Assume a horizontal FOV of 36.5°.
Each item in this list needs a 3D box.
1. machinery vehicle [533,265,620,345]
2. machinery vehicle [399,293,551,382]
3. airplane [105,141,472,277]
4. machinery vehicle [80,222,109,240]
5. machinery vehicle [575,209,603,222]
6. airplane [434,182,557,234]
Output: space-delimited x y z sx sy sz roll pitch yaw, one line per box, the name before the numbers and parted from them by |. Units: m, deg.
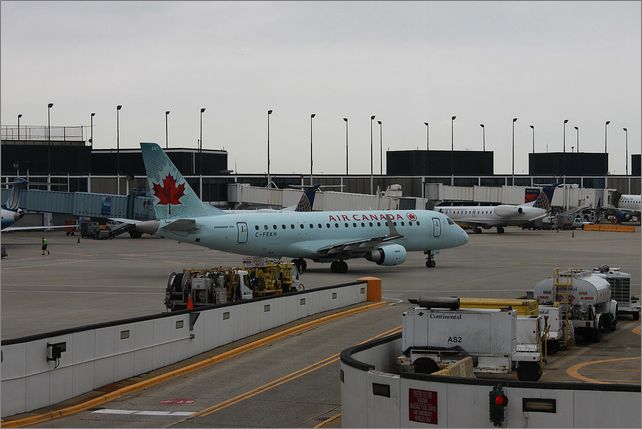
machinery vehicle | 12.446 4.273 47.422 2.752 2.432 5.240 1 4 29
machinery vehicle | 6.196 5.150 39.203 6.055 3.848 2.066 -5 7 -15
airplane | -0.381 -0.067 71.509 24.574 7.881 23.598 0 14 -18
machinery vehicle | -27.115 1.976 118.181 3.398 1.893 1.933 4 3 36
machinery vehicle | 42.066 0.188 150.729 5.385 1.562 3.050 -8 10 -44
airplane | 20.896 -0.143 124.319 18.232 5.722 18.913 -5 -1 38
